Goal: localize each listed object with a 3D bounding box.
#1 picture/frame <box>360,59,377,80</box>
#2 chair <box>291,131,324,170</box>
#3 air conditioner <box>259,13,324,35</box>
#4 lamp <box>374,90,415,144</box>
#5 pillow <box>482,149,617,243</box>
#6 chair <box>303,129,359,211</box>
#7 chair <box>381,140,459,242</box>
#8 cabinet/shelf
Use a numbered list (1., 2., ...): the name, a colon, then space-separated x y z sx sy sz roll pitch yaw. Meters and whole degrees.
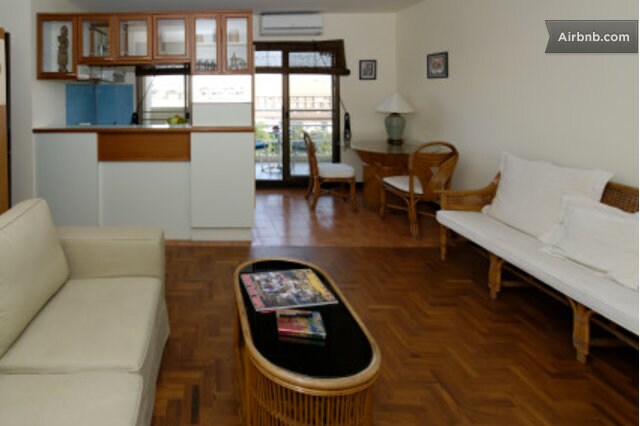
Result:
1. picture/frame: 0.816 -2.454 7.733 0.346 0.360 0.027 0 9 -6
2. chair: -0.229 -1.048 7.766 0.494 0.681 0.557 2 24 1
3. air conditioner: -0.463 -3.083 7.453 1.040 0.338 0.273 -2 17 -6
4. lamp: 1.185 -1.460 6.969 0.571 0.718 1.237 0 17 3
5. pillow: 1.939 -0.126 3.819 0.168 0.506 0.797 20 3 -26
6. chair: 0.160 -0.672 6.797 0.835 1.054 0.778 3 16 0
7. chair: 1.233 -0.370 5.672 0.722 1.179 0.915 -11 23 -23
8. cabinet/shelf: -1.924 -1.853 5.044 2.390 0.687 0.272 0 17 3
